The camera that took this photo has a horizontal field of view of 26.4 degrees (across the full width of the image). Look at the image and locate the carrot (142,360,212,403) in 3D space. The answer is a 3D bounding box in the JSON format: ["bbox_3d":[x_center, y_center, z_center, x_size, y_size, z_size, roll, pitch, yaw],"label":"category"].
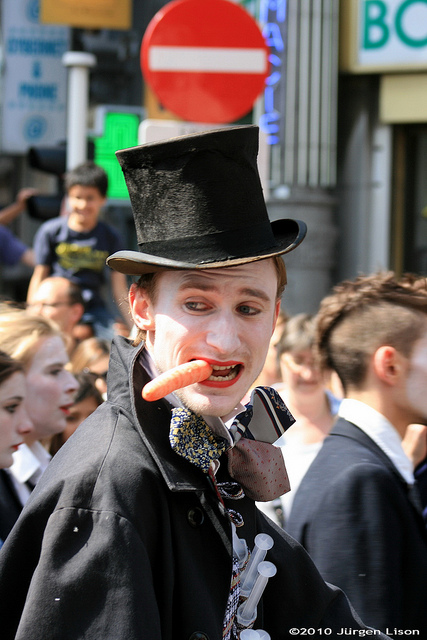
[{"bbox_3d":[-0.094,0.123,2.003,0.188,0.118,0.086,-3,5,-32],"label":"carrot"}]

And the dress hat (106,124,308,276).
[{"bbox_3d":[0.005,-0.291,2.199,0.499,0.371,0.310,1,2,-13],"label":"dress hat"}]

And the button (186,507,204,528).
[{"bbox_3d":[-0.043,0.443,2.040,0.020,0.044,0.049,3,3,33],"label":"button"}]
